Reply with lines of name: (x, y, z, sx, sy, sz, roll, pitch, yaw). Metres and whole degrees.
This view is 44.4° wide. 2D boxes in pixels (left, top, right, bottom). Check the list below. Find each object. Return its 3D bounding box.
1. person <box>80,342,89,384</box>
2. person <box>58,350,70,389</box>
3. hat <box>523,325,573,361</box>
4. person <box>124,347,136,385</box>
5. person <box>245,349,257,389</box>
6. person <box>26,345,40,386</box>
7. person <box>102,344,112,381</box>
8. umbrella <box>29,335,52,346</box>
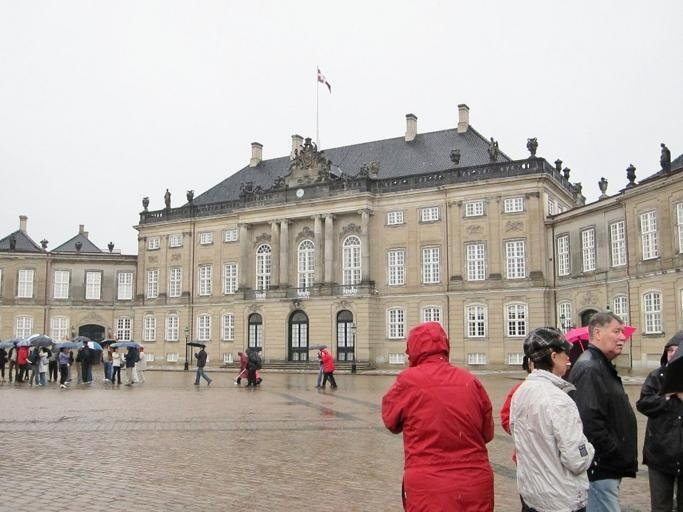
person: (-10.829, 4.443, 34.907, 0.414, 1.754, 1.324, 1, -10, -18)
person: (-11.091, 4.402, 33.154, 0.397, 1.655, 2.586, 1, -10, -18)
hat: (2.491, 1.009, 10.104, 0.646, 0.359, 0.474, -18, 2, -15)
person: (-8.822, 4.496, 34.601, 0.408, 1.600, 1.284, 0, -10, -15)
person: (-3.709, 4.526, 33.998, 0.474, 1.537, 1.336, -1, -10, -7)
person: (-12.505, 4.399, 33.718, 0.452, 1.539, 1.677, 1, -10, -20)
person: (-10.318, 4.689, 36.519, 0.351, 1.659, 2.545, 1, -10, -16)
umbrella: (-12.289, 3.407, 33.922, 0.898, 0.454, 0.956, 1, -11, -21)
